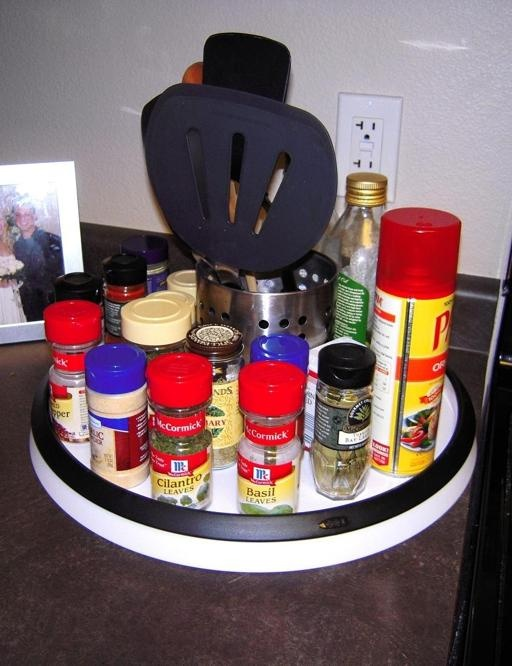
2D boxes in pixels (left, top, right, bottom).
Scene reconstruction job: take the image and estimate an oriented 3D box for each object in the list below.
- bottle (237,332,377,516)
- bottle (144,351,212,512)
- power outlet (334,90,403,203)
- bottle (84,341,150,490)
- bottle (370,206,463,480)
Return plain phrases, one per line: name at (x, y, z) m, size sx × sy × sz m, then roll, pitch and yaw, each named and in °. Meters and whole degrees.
bottle at (0.071, 0.061, 0.464) m, size 0.075 × 0.145 × 0.150 m, roll 7°, pitch 22°, yaw 17°
bottle at (-0.061, 0.077, 0.435) m, size 0.050 × 0.120 × 0.068 m, roll -2°, pitch 24°, yaw -8°
power outlet at (0.140, -0.235, 0.690) m, size 0.082 × 0.132 × 0.016 m, roll 12°, pitch 49°, yaw 18°
bottle at (-0.118, 0.071, 0.469) m, size 0.053 × 0.113 × 0.061 m, roll -2°, pitch 23°, yaw -6°
bottle at (0.125, 0.019, 0.451) m, size 0.064 × 0.221 × 0.033 m, roll 6°, pitch 23°, yaw 11°
